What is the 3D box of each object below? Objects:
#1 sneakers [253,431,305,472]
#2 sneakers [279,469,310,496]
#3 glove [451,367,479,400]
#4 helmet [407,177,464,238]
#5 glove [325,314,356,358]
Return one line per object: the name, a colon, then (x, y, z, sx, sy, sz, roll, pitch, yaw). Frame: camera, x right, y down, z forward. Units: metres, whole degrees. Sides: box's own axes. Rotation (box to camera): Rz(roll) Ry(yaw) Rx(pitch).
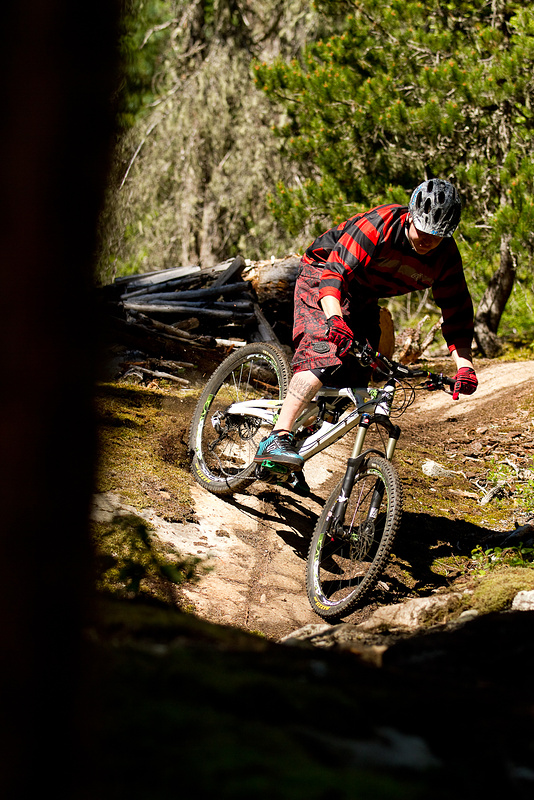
sneakers: (0.052, 0.234, 3.723, 0.105, 0.114, 0.257, 14, -12, -20)
sneakers: (0.152, 0.424, 4.137, 0.108, 0.119, 0.209, -5, -5, -13)
glove: (0.893, -0.052, 3.677, 0.134, 0.080, 0.172, 6, 48, 5)
helmet: (0.711, -0.782, 3.460, 0.207, 0.262, 0.210, 6, -20, -2)
glove: (0.303, -0.283, 3.438, 0.127, 0.075, 0.166, 45, 15, -41)
